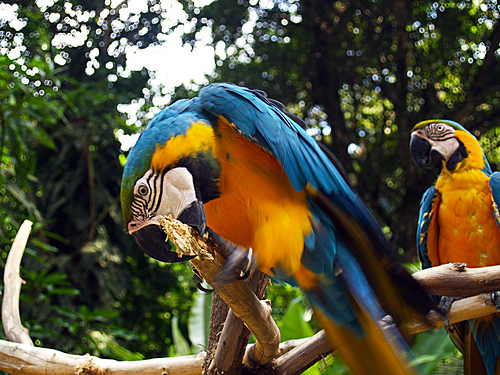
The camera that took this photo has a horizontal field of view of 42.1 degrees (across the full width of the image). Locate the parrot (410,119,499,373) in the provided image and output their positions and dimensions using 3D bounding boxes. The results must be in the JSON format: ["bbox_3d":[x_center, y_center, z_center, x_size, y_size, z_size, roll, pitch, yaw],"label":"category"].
[{"bbox_3d":[1.469,0.244,4.673,0.483,2.040,0.583,-1,11,14],"label":"parrot"}]
